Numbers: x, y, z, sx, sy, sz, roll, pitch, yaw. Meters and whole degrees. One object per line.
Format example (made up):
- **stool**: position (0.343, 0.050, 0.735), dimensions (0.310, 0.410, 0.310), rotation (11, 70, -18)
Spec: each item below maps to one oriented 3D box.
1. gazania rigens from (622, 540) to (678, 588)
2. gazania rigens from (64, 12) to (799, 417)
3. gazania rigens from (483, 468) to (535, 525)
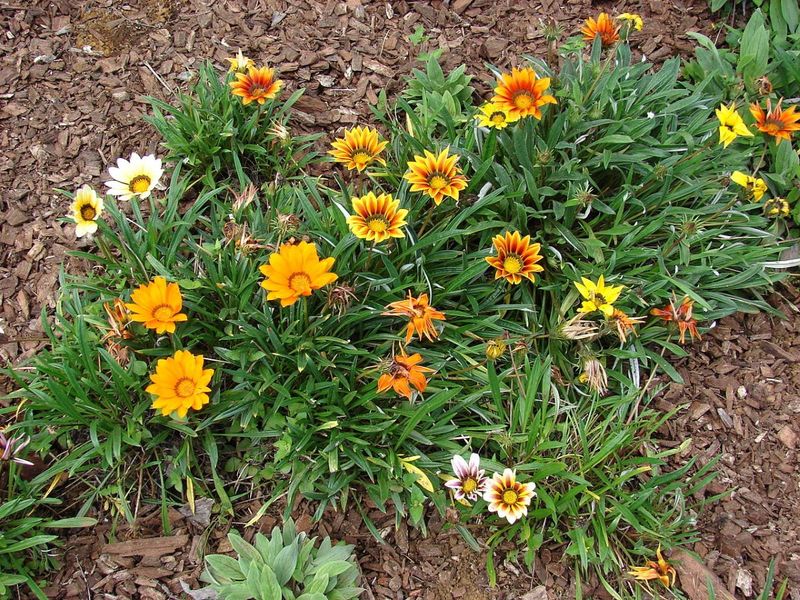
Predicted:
- **gazania rigens**: position (1.171, 1.261, 3.008), dimensions (0.206, 0.083, 0.196), rotation (-33, 34, -14)
- **gazania rigens**: position (0.192, -0.390, 3.449), dimensions (2.305, 0.841, 1.682), rotation (-16, 77, -5)
- **gazania rigens**: position (0.495, 0.881, 2.908), dimensions (0.223, 0.202, 0.205), rotation (-32, 60, -11)
